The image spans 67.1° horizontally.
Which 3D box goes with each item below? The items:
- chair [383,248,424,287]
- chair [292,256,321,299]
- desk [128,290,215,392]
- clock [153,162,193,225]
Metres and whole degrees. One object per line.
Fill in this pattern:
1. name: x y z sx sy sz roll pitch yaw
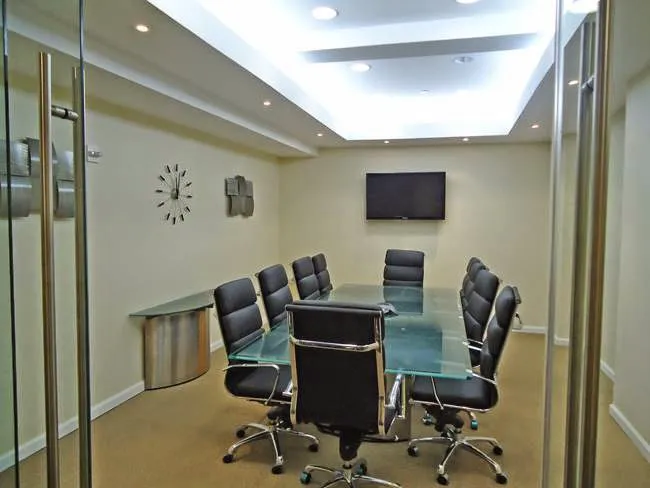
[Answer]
1. chair: 0.983 0.295 6.043 0.373 0.596 0.477 0 -8 12
2. chair: -0.135 0.384 5.516 0.316 0.481 0.315 18 36 37
3. desk: -1.505 0.935 4.676 0.304 0.598 0.906 1 1 22
4. clock: -1.558 -0.525 4.944 0.060 0.695 0.649 2 1 23
